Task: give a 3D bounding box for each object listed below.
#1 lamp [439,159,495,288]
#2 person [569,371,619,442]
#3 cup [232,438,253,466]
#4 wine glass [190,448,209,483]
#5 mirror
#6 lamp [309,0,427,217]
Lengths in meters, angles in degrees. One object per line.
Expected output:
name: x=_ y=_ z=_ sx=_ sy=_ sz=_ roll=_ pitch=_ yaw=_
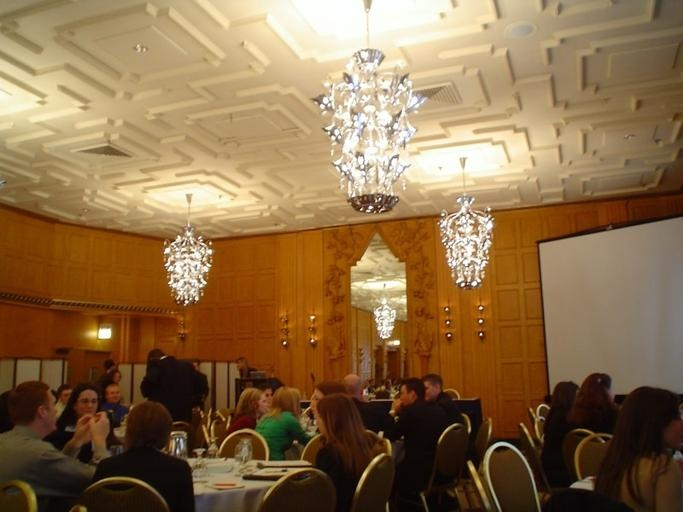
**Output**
lamp: x=2.686 y=-0.341 z=11.060 sx=1.247 sy=2.194 sz=2.955 roll=-4 pitch=-12 yaw=17
person: x=2.545 y=1.602 z=5.185 sx=0.470 sy=0.845 sz=0.551 roll=7 pitch=-13 yaw=28
cup: x=-0.833 y=1.748 z=4.580 sx=0.172 sy=0.281 sz=0.205 roll=-6 pitch=-15 yaw=24
wine glass: x=-1.128 y=1.665 z=4.059 sx=0.163 sy=0.261 sz=0.179 roll=-19 pitch=-26 yaw=27
mirror: x=1.006 y=1.571 z=14.579 sx=0.090 sy=5.564 sz=3.691 roll=-1 pitch=-10 yaw=25
lamp: x=0.334 y=-1.966 z=6.592 sx=1.179 sy=2.857 sz=1.263 roll=-7 pitch=-20 yaw=25
